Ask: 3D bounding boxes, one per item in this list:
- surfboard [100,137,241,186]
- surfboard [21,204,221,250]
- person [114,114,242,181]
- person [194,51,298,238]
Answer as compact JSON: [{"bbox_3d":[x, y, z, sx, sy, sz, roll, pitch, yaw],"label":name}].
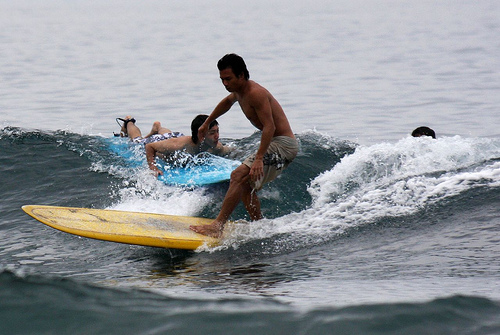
[{"bbox_3d":[-1.533,-0.072,10.012,3.058,0.251,0.784,6,29,37],"label":"surfboard"},{"bbox_3d":[-1.458,0.641,7.172,2.750,0.208,0.675,8,8,-7],"label":"surfboard"},{"bbox_3d":[-1.099,-0.399,10.049,2.177,0.587,1.403,8,12,40],"label":"person"},{"bbox_3d":[0.016,-0.261,7.422,1.074,2.025,1.323,5,25,-2],"label":"person"}]
